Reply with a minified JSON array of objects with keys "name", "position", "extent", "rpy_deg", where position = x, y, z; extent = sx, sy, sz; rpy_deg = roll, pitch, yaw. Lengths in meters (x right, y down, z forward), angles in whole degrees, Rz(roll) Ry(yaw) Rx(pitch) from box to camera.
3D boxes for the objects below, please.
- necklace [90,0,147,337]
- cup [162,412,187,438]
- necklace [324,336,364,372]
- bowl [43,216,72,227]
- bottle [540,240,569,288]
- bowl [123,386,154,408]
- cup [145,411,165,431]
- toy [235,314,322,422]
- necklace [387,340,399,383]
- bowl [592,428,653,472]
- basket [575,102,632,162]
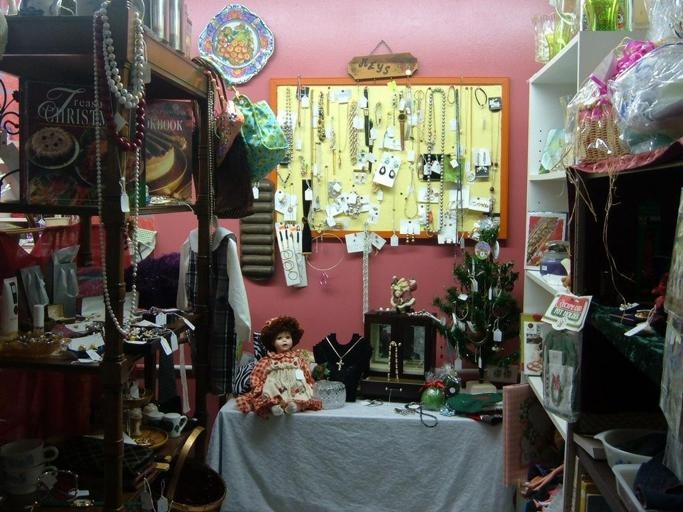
[{"name":"necklace","position":[-0.769,-0.259,2.151],"extent":[0.169,1.128,0.428],"rpy_deg":[0,2,-18]},{"name":"cup","position":[-0.747,0.752,2.720],"extent":[0.106,0.101,0.062],"rpy_deg":[5,-6,-37]},{"name":"necklace","position":[0.014,0.557,3.522],"extent":[0.218,0.183,0.079],"rpy_deg":[0,2,0]},{"name":"bowl","position":[-1.279,-0.151,2.760],"extent":[0.043,0.031,0.074],"rpy_deg":[0,-2,5]},{"name":"bottle","position":[0.908,0.033,2.698],"extent":[0.142,0.154,0.154],"rpy_deg":[0,-6,10]},{"name":"bowl","position":[-0.857,0.608,2.589],"extent":[0.085,0.034,0.088],"rpy_deg":[2,14,-1]},{"name":"cup","position":[-0.826,0.728,2.733],"extent":[0.066,0.070,0.066],"rpy_deg":[2,2,0]},{"name":"toy","position":[-0.367,0.687,3.450],"extent":[0.524,0.650,0.429],"rpy_deg":[3,-19,-13]},{"name":"necklace","position":[0.297,0.597,3.519],"extent":[0.065,0.221,0.031],"rpy_deg":[0,2,6]},{"name":"bowl","position":[0.891,0.607,1.964],"extent":[0.115,0.050,0.122],"rpy_deg":[-4,0,0]},{"name":"basket","position":[0.869,-0.405,2.062],"extent":[0.133,0.142,0.170],"rpy_deg":[-2,-3,3]}]
